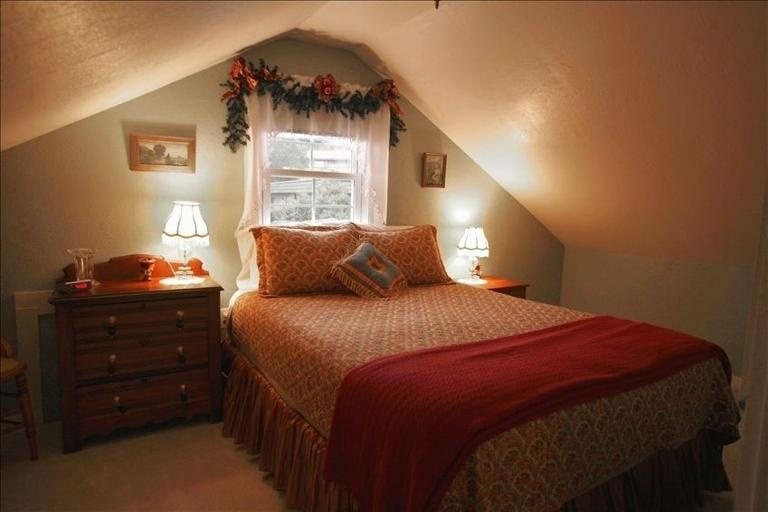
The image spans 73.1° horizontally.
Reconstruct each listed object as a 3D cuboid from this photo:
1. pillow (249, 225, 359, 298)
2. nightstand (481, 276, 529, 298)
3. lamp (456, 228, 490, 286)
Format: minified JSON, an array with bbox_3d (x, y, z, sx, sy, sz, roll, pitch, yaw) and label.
[{"bbox_3d":[-0.582,0.058,3.712,0.500,0.179,0.345,-7,47,-19],"label":"pillow"},{"bbox_3d":[1.100,0.268,4.828,0.302,0.283,0.298,-2,16,-14],"label":"nightstand"},{"bbox_3d":[0.850,-0.002,4.941,0.296,0.516,0.297,-1,-1,20],"label":"lamp"}]
